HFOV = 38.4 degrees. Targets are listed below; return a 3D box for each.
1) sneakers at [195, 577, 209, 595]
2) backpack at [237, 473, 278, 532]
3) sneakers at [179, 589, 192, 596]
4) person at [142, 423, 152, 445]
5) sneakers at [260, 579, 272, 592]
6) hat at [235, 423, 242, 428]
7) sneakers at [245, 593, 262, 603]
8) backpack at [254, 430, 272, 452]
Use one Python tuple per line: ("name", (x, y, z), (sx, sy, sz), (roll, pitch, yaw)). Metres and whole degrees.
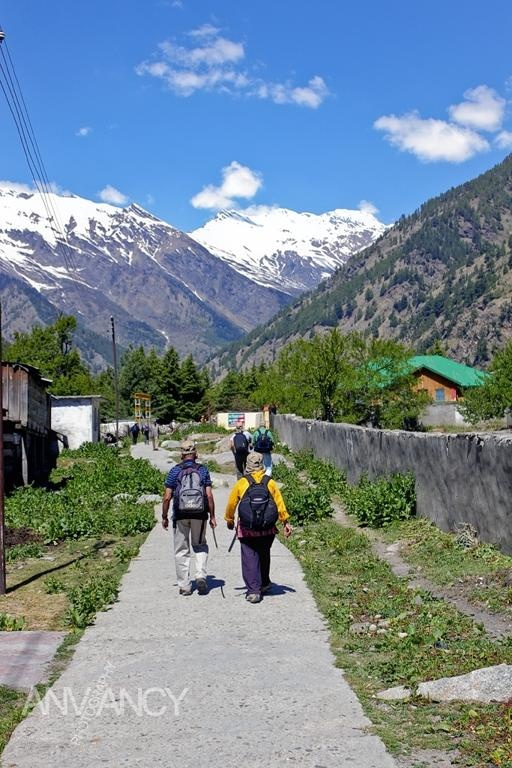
("sneakers", (-0.657, 2.496, 9.115), (0.103, 0.123, 0.269), (0, -8, 3))
("backpack", (0.027, 1.413, 8.750), (0.468, 0.668, 0.388), (-1, -3, -3))
("sneakers", (-0.853, 2.520, 8.956), (0.149, 0.084, 0.142), (-1, -3, -9))
("person", (-7.305, 3.327, 49.388), (0.355, 1.311, 0.896), (-1, -3, -8))
("sneakers", (0.122, 2.480, 9.071), (0.149, 0.204, 0.451), (0, -11, 4))
("hat", (-0.372, 0.963, 16.812), (0.124, 0.127, 0.130), (2, -7, 2))
("sneakers", (-0.018, 2.493, 8.583), (0.159, 0.102, 0.146), (-1, -3, -7))
("backpack", (0.190, 1.389, 18.330), (0.417, 0.569, 0.569), (0, -18, 0))
